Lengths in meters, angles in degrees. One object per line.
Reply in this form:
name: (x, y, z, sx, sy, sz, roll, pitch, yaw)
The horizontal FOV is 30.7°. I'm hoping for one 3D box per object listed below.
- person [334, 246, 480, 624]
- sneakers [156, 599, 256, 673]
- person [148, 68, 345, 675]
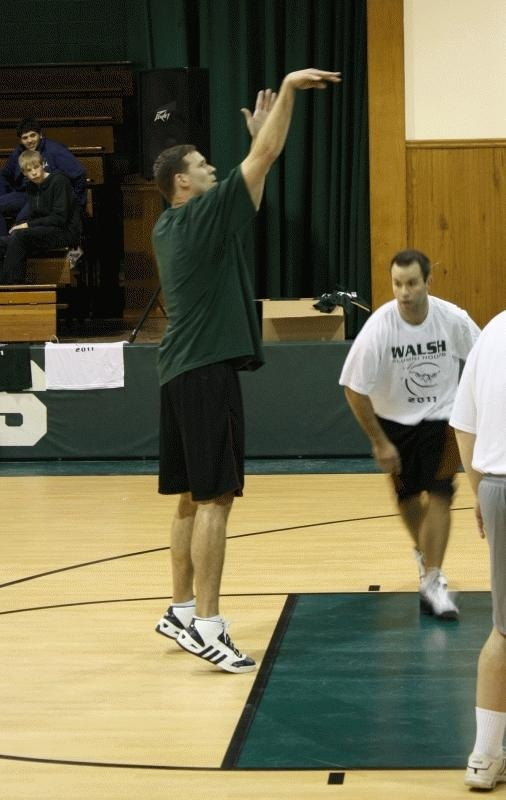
person: (0.582, 0.108, 3.090, 0.589, 1.184, 0.546, -4, 14, 4)
sneakers: (-0.140, 0.684, 2.696, 0.216, 0.181, 0.315, -4, 4, -20)
person: (-0.051, -0.036, 2.593, 0.592, 1.627, 0.354, -2, 4, 8)
